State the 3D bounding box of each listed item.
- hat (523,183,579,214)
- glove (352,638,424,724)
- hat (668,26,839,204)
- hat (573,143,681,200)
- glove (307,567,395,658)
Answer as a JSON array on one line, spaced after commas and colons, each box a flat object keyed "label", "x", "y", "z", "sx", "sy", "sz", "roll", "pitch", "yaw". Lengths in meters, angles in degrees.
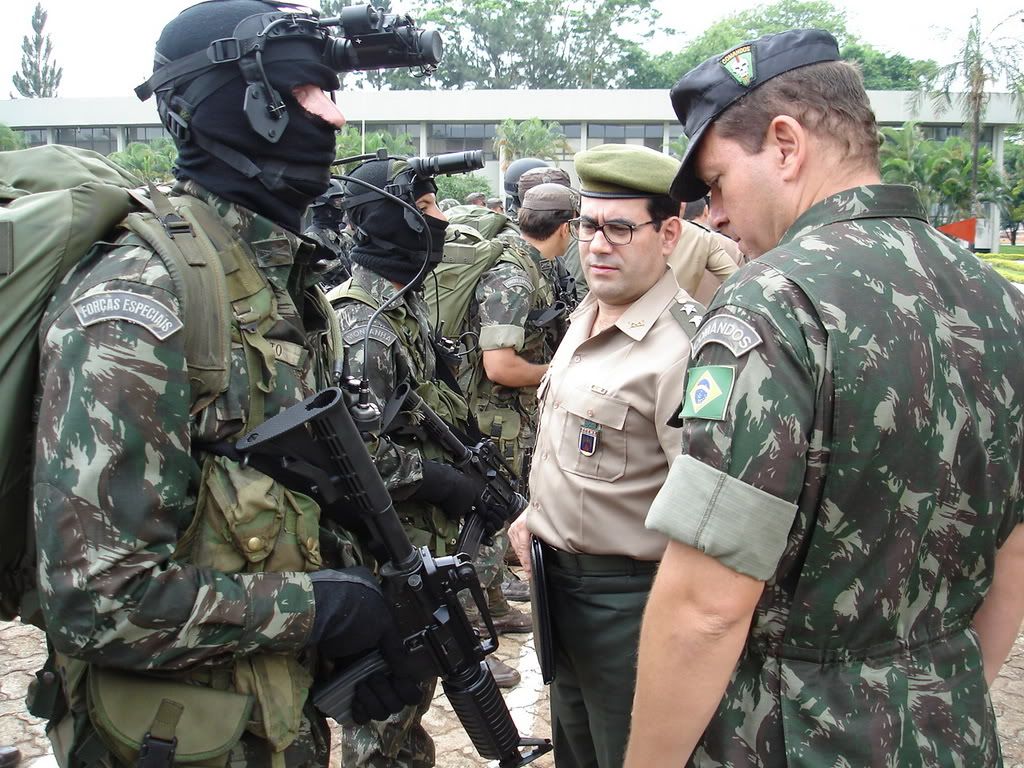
[{"label": "hat", "x": 0.277, "y": -1.272, "z": 5.927, "sx": 0.299, "sy": 0.115, "sz": 0.225, "roll": -5, "pitch": 22, "yaw": -13}, {"label": "glove", "x": -0.388, "y": 0.873, "z": 2.609, "sx": 0.190, "sy": 0.088, "sz": 0.255, "roll": -42, "pitch": -12, "yaw": 9}, {"label": "hat", "x": 0.624, "y": -0.684, "z": 2.215, "sx": 0.412, "sy": 0.226, "sz": 0.311, "roll": -30, "pitch": -5, "yaw": 19}, {"label": "hat", "x": 0.478, "y": -0.881, "z": 3.573, "sx": 0.463, "sy": 0.177, "sz": 0.389, "roll": -9, "pitch": 16, "yaw": -22}, {"label": "glove", "x": -0.470, "y": 0.652, "z": 2.481, "sx": 0.125, "sy": 0.179, "sz": 0.235, "roll": 1, "pitch": -14, "yaw": 33}]
